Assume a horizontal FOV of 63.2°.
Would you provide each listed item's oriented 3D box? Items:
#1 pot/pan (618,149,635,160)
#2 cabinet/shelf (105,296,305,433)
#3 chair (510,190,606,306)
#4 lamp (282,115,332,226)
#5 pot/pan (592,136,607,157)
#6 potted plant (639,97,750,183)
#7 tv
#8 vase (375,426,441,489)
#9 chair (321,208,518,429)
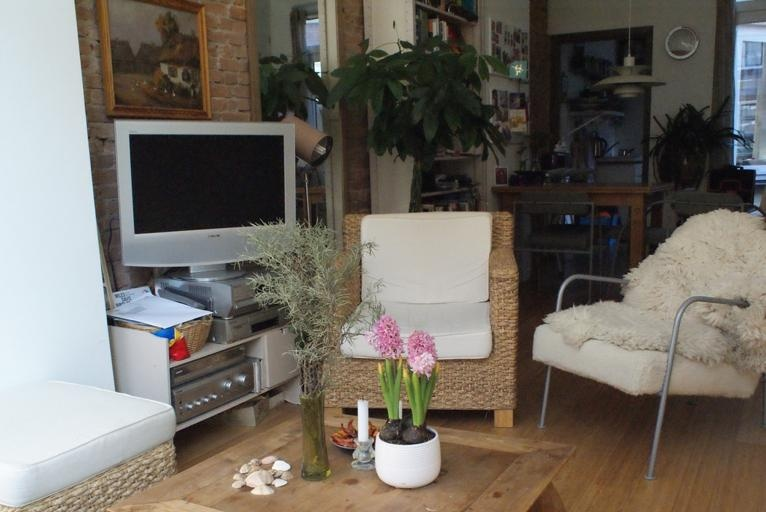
[{"bbox_3d":[3.007,-1.246,7.674,0.243,0.117,0.328,0,5,15],"label":"pot/pan"},{"bbox_3d":[-0.998,0.522,3.580,0.540,0.673,1.034,5,12,28],"label":"cabinet/shelf"},{"bbox_3d":[1.591,-0.078,5.739,0.894,0.985,0.905,-1,7,-12],"label":"chair"},{"bbox_3d":[-0.506,-0.571,4.040,0.379,0.233,1.028,-6,-27,-5],"label":"lamp"},{"bbox_3d":[2.864,-1.441,8.248,0.159,0.277,0.472,3,12,18],"label":"pot/pan"},{"bbox_3d":[3.502,-1.277,6.987,0.976,0.977,1.053,9,15,43],"label":"potted plant"},{"bbox_3d":[-0.963,-0.324,3.423,0.292,0.801,1.084,20,21,40],"label":"tv"},{"bbox_3d":[0.150,0.754,2.294,0.220,0.134,0.213,-6,-8,-20],"label":"vase"},{"bbox_3d":[0.193,0.311,3.884,1.192,1.107,1.172,0,4,5],"label":"chair"}]
